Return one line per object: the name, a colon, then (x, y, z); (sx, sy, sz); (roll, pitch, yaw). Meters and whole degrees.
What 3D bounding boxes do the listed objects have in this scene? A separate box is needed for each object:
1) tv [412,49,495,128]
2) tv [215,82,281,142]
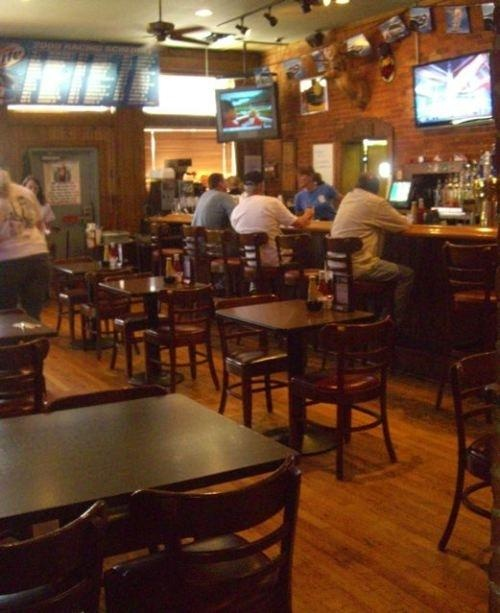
tv: (2.686, -2.871, 7.168); (0.140, 0.928, 1.354); (-6, 11, -26)
tv: (0.061, -3.323, 9.341); (1.160, 0.856, 0.661); (4, 19, 22)
